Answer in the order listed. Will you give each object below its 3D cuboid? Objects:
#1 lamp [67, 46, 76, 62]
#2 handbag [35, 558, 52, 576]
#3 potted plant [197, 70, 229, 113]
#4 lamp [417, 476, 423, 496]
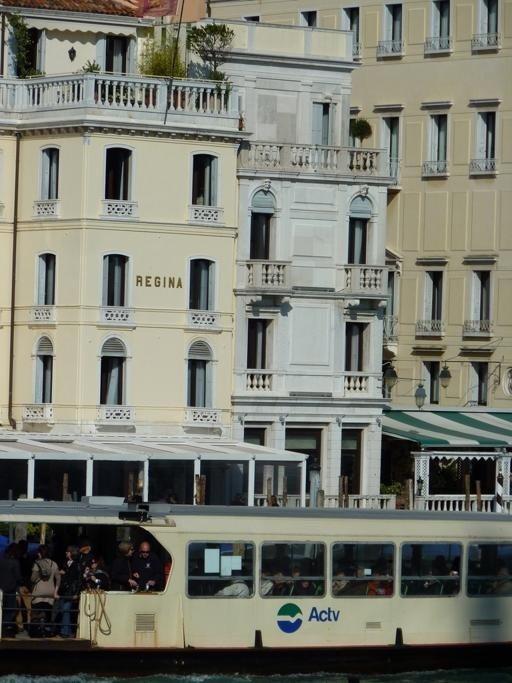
[{"bbox_3d":[-5.370,-8.167,63.540,0.301,0.345,0.079,3,-3,-43],"label":"lamp"},{"bbox_3d":[-4.062,4.162,41.828,0.306,0.487,0.254,0,0,-20],"label":"handbag"},{"bbox_3d":[-1.281,-6.951,62.396,0.895,1.353,2.013,0,-2,2],"label":"potted plant"},{"bbox_3d":[4.411,3.872,61.293,0.180,0.500,0.366,0,-2,12],"label":"lamp"}]
